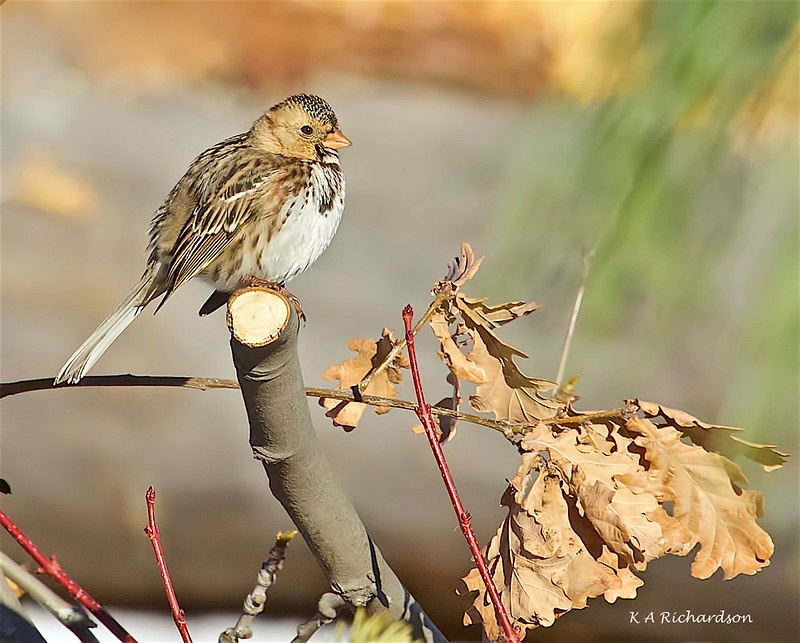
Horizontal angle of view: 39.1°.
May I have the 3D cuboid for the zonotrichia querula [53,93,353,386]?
[{"bbox_3d":[-0.702,-0.360,4.621,1.163,1.103,0.388,-11,-30,-13],"label":"zonotrichia querula"}]
